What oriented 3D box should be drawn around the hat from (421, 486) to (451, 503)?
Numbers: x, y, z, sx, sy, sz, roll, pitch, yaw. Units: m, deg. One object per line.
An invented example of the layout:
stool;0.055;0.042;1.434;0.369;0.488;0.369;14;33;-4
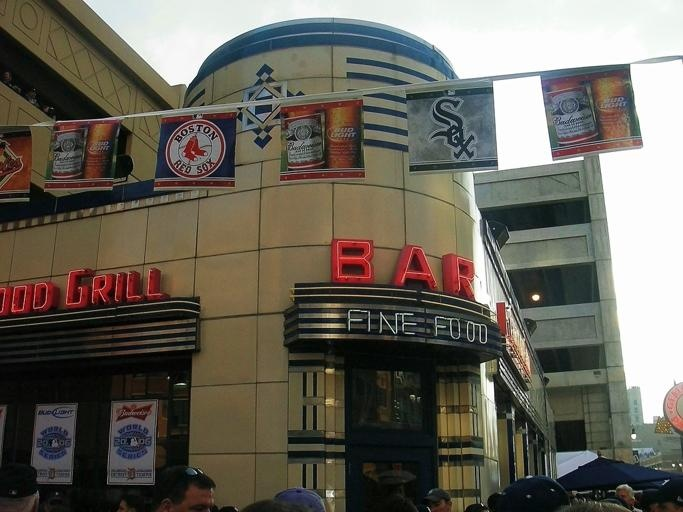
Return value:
hat;1.643;4.026;12.911;0.239;0.181;0.357;-15;-30;39
